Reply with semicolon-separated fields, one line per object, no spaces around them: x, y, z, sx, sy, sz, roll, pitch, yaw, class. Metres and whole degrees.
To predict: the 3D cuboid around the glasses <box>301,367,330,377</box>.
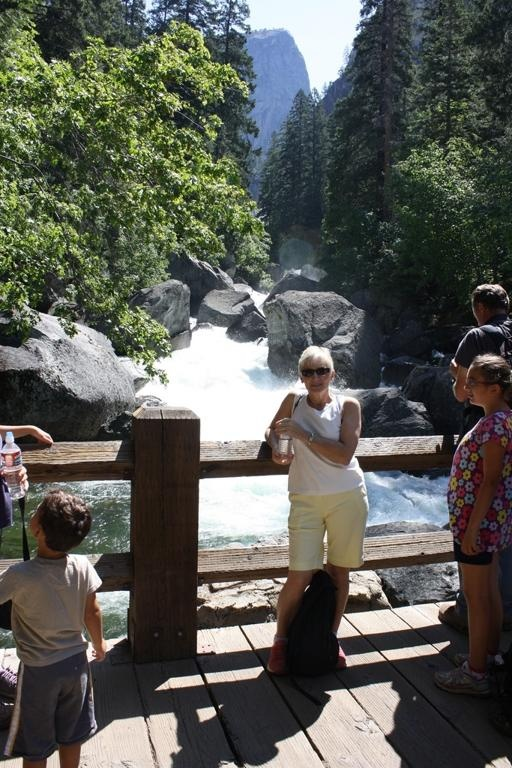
0.248;-0.048;2.538;0.113;0.040;0.034;-1;-3;6;glasses

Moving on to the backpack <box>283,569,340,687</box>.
0.237;1.010;2.527;0.230;0.453;0.153;0;-3;-5;backpack

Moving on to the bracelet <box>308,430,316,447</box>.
0.220;0.214;2.463;0.010;0.038;0.039;2;36;-17;bracelet
